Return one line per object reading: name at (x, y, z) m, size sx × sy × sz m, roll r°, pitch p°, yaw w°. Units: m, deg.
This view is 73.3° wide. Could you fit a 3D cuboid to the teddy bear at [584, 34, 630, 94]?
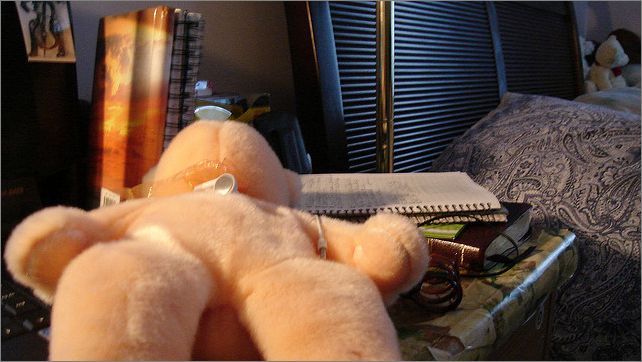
teddy bear at (1.450, -0.568, 2.177) m, size 0.216 × 0.298 × 0.212 m, roll 13°, pitch 41°, yaw 41°
